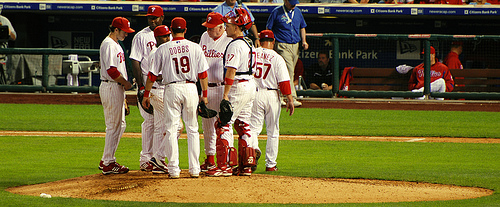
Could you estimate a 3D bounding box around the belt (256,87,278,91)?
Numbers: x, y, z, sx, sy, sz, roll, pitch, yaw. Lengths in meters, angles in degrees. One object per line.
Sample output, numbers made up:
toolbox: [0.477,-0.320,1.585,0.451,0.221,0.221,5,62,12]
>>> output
belt: [0.695,-0.570,29.967,0.802,0.100,0.068,0,2,-10]

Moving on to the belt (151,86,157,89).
belt: [-3.648,-0.621,29.553,0.142,0.078,0.119,-2,-8,-8]

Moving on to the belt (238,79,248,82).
belt: [-0.254,-0.888,29.505,0.356,0.114,0.014,0,2,-10]
